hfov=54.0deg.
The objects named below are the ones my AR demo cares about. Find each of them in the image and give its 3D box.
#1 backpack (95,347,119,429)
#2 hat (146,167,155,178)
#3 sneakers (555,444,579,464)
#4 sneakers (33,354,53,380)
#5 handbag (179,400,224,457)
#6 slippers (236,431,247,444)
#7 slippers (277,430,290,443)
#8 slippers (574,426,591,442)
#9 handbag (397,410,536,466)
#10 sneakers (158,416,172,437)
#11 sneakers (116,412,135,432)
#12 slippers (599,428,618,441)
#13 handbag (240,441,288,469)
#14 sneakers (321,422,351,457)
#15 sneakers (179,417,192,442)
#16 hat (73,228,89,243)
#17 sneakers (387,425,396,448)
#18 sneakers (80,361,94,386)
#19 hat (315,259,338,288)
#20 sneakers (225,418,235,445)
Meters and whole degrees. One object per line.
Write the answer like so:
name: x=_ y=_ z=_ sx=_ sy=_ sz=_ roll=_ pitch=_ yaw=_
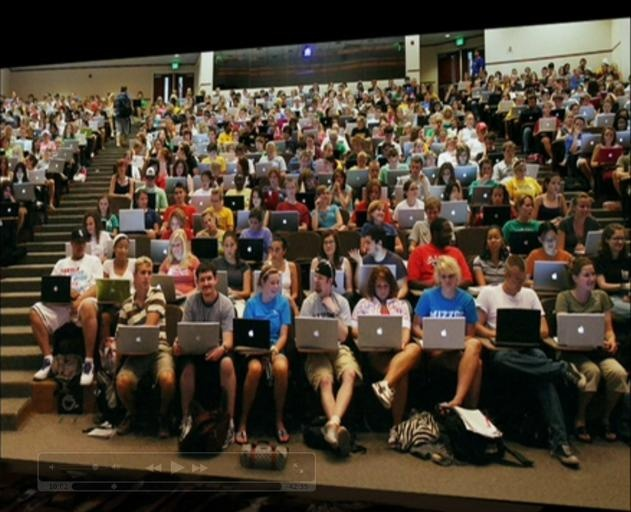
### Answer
backpack: x=-1.892 y=1.222 z=5.620 sx=0.188 sy=0.299 sz=0.682 roll=1 pitch=17 yaw=-12
hat: x=-2.315 y=-1.184 z=8.652 sx=0.121 sy=0.115 sz=0.194 roll=-1 pitch=11 yaw=-15
sneakers: x=2.049 y=1.609 z=4.991 sx=0.161 sy=0.142 sz=0.151 roll=-2 pitch=8 yaw=-9
sneakers: x=-2.598 y=1.082 z=5.924 sx=0.102 sy=0.160 sz=0.334 roll=0 pitch=4 yaw=-2
handbag: x=-0.930 y=1.478 z=5.209 sx=0.228 sy=0.344 sz=0.454 roll=1 pitch=0 yaw=-7
slippers: x=-0.636 y=1.550 z=5.264 sx=0.072 sy=0.112 sz=0.169 roll=1 pitch=1 yaw=-3
slippers: x=-0.275 y=1.544 z=5.307 sx=0.108 sy=0.085 sz=0.116 roll=-2 pitch=8 yaw=-5
slippers: x=2.277 y=1.518 z=5.253 sx=0.062 sy=0.089 sz=0.205 roll=-6 pitch=-6 yaw=4
handbag: x=1.120 y=1.499 z=5.116 sx=0.691 sy=0.286 sz=0.545 roll=0 pitch=-5 yaw=19
sneakers: x=-1.316 y=1.495 z=5.422 sx=0.109 sy=0.173 sz=0.091 roll=-3 pitch=8 yaw=-14
sneakers: x=-1.687 y=1.489 z=5.474 sx=0.080 sy=0.085 sz=0.202 roll=10 pitch=47 yaw=-6
slippers: x=2.505 y=1.535 z=5.293 sx=0.056 sy=0.049 sz=0.126 roll=-12 pitch=-4 yaw=-2
handbag: x=-0.411 y=1.616 z=5.059 sx=0.238 sy=0.176 sz=0.214 roll=1 pitch=-26 yaw=2
sneakers: x=0.172 y=1.494 z=5.086 sx=0.258 sy=0.299 sz=0.235 roll=-1 pitch=8 yaw=2
sneakers: x=-1.100 y=1.451 z=5.218 sx=0.102 sy=0.192 sz=0.045 roll=-11 pitch=-37 yaw=41
hat: x=-2.505 y=-0.214 z=6.542 sx=0.190 sy=0.160 sz=0.265 roll=5 pitch=-2 yaw=-39
sneakers: x=0.646 y=1.539 z=5.223 sx=0.079 sy=0.146 sz=0.050 roll=1 pitch=-6 yaw=27
sneakers: x=-2.141 y=1.102 z=5.809 sx=0.081 sy=0.280 sz=0.118 roll=0 pitch=-39 yaw=-13
hat: x=0.090 y=0.155 z=5.706 sx=0.159 sy=0.240 sz=0.223 roll=8 pitch=-8 yaw=40
sneakers: x=-0.723 y=1.492 z=5.229 sx=0.059 sy=0.238 sz=0.091 roll=1 pitch=-4 yaw=-1
